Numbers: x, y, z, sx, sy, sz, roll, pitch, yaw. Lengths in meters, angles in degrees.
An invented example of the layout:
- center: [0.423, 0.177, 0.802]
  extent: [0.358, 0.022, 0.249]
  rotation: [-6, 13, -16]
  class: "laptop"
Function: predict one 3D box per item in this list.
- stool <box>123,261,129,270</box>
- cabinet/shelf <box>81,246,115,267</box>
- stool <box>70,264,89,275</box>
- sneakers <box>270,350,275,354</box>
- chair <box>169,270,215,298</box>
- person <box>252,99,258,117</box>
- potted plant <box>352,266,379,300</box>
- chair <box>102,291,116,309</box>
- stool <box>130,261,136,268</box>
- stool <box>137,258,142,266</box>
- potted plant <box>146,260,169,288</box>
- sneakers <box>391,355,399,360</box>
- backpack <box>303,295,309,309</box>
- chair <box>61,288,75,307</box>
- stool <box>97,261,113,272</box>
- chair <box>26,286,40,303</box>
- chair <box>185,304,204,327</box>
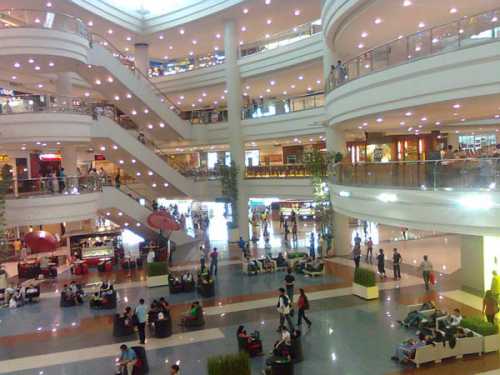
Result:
- center: [-7.570, 4.750, 24.977]
  extent: [0.367, 0.368, 0.373]
  rotation: [0, -2, 4]
  class: "stool"
- center: [-9.606, 4.202, 25.922]
  extent: [2.581, 1.653, 0.984]
  rotation: [-1, -12, -3]
  class: "cabinet/shelf"
- center: [-10.027, 4.847, 24.491]
  extent: [0.736, 0.469, 0.757]
  rotation: [0, -4, 4]
  class: "stool"
- center: [0.756, 5.792, 14.446]
  extent: [0.153, 0.071, 0.073]
  rotation: [1, 0, 23]
  class: "sneakers"
- center: [-2.840, 4.760, 20.116]
  extent: [1.567, 0.596, 1.287]
  rotation: [1, 0, 4]
  class: "chair"
- center: [0.273, -5.431, 28.817]
  extent: [0.360, 0.981, 0.632]
  rotation: [-7, 9, -30]
  class: "person"
- center: [5.136, 4.346, 18.425]
  extent: [0.661, 1.317, 1.296]
  rotation: [0, 0, -18]
  class: "potted plant"
- center: [-6.491, 5.202, 19.044]
  extent: [0.677, 0.759, 0.704]
  rotation: [3, -4, -19]
  class: "chair"
- center: [-7.193, 4.724, 25.231]
  extent: [0.364, 0.389, 0.374]
  rotation: [-2, 3, 2]
  class: "stool"
- center: [-6.836, 4.634, 25.380]
  extent: [0.401, 0.419, 0.410]
  rotation: [0, -2, 2]
  class: "stool"
- center: [-4.814, 4.543, 21.276]
  extent: [1.159, 1.193, 0.641]
  rotation: [1, -3, -23]
  class: "potted plant"
- center: [4.835, 5.726, 13.804]
  extent: [0.263, 0.170, 0.092]
  rotation: [-3, 3, 18]
  class: "sneakers"
- center: [2.170, 4.514, 16.046]
  extent: [0.150, 0.683, 0.526]
  rotation: [-1, 8, 10]
  class: "backpack"
- center: [-8.634, 5.259, 19.623]
  extent: [0.718, 0.782, 0.692]
  rotation: [2, -6, -39]
  class: "chair"
- center: [-8.785, 4.769, 24.748]
  extent: [0.645, 0.468, 0.664]
  rotation: [-2, -4, 5]
  class: "stool"
- center: [-10.638, 5.244, 20.189]
  extent: [0.694, 0.825, 0.671]
  rotation: [-1, -5, 3]
  class: "chair"
- center: [-2.247, 5.191, 16.745]
  extent: [0.761, 0.773, 0.764]
  rotation: [1, -3, -4]
  class: "chair"
